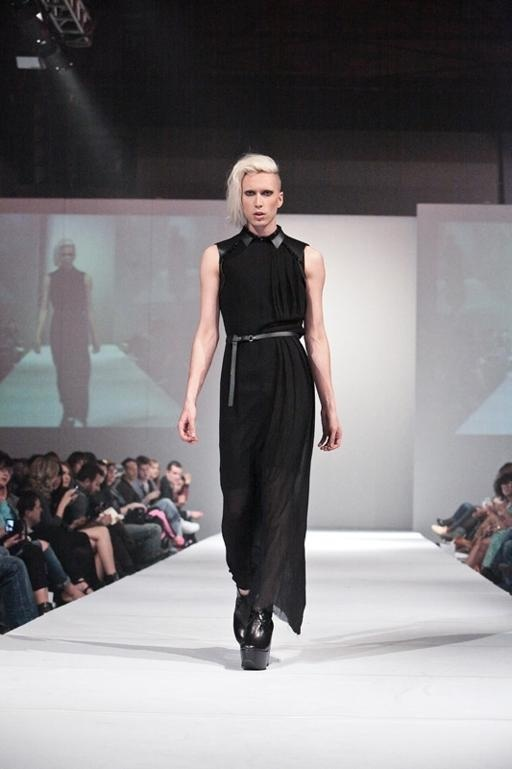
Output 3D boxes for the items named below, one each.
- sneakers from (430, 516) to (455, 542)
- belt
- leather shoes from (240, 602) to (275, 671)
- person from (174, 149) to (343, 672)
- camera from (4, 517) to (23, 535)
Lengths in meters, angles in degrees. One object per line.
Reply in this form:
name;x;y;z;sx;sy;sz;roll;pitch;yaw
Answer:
sneakers;1.047;0.815;4.383;0.056;0.099;0.154;37;-8;-34
belt;0.033;-0.040;1.974;0.216;0.197;0.062;1;4;-24
leather shoes;0.014;0.596;1.790;0.056;0.069;0.159;2;5;5
person;0.012;0.064;1.965;0.389;1.296;0.441;3;4;8
camera;-0.822;0.488;2.655;0.042;0.050;0.053;21;-46;-36
